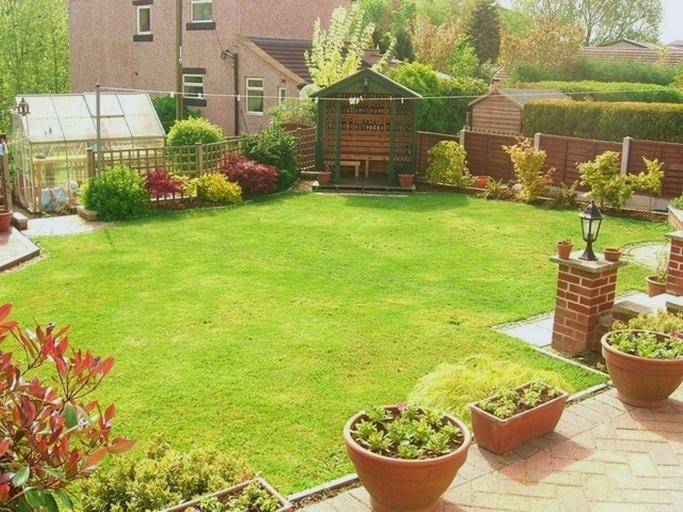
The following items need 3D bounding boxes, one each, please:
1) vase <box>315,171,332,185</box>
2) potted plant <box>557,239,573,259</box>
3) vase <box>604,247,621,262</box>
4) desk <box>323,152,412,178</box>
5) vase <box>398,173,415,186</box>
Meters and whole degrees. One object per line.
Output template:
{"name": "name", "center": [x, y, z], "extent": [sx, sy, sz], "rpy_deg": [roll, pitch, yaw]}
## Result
{"name": "vase", "center": [-0.741, -2.982, 22.184], "extent": [0.535, 0.376, 0.535], "rpy_deg": [-5, 5, -23]}
{"name": "potted plant", "center": [3.479, -0.108, 9.080], "extent": [0.295, 0.312, 0.301], "rpy_deg": [9, 12, 39]}
{"name": "vase", "center": [4.297, -0.037, 9.112], "extent": [0.229, 0.148, 0.235], "rpy_deg": [2, 10, 1]}
{"name": "desk", "center": [0.637, -3.751, 23.858], "extent": [2.592, 0.951, 1.592], "rpy_deg": [0, 12, 2]}
{"name": "vase", "center": [2.511, -2.881, 22.110], "extent": [0.542, 0.476, 0.788], "rpy_deg": [1, 13, 7]}
